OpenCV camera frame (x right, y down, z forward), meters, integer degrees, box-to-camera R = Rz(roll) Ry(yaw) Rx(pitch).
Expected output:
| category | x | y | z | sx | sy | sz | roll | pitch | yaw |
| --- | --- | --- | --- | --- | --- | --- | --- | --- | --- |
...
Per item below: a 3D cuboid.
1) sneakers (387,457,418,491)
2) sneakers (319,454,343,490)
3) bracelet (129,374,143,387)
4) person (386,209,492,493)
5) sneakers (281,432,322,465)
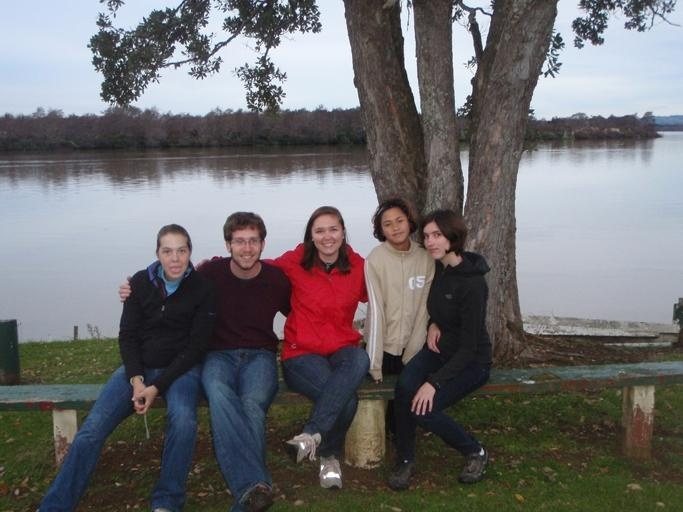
| category | x | y | z | sx | sy | sz | roll | pitch | yaw |
| --- | --- | --- | --- | --- | --- | --- | --- | --- | --- |
| sneakers | 0.502 | 1.863 | 5.021 | 0.140 | 0.123 | 0.298 | -1 | -2 | 23 |
| sneakers | -0.085 | 1.831 | 4.972 | 0.201 | 0.293 | 0.220 | -2 | 9 | -3 |
| bracelet | -1.693 | 1.025 | 4.866 | 0.104 | 0.079 | 0.042 | 0 | 5 | -25 |
| person | 0.871 | 0.775 | 5.085 | 0.869 | 2.303 | 0.640 | -1 | 9 | 4 |
| sneakers | -0.298 | 1.508 | 4.619 | 0.178 | 0.157 | 0.397 | -9 | -9 | -10 |
